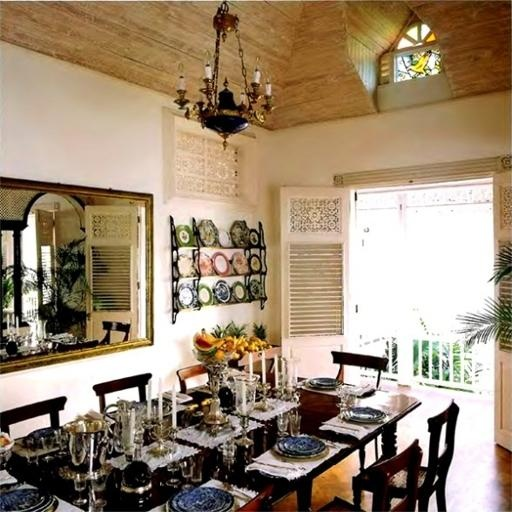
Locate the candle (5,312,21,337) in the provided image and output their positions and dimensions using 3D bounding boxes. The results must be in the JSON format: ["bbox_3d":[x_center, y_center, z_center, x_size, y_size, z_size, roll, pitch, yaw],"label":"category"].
[{"bbox_3d":[-1.488,0.415,2.918,0.014,0.150,0.081,0,1,32],"label":"candle"}]

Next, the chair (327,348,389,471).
[{"bbox_3d":[0.811,0.971,3.577,0.437,0.560,0.392,-1,-5,29],"label":"chair"}]

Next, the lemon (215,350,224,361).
[{"bbox_3d":[-0.177,0.483,2.312,0.044,0.053,0.045,0,3,-37],"label":"lemon"}]

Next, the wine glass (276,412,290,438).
[{"bbox_3d":[0.139,0.822,2.297,0.064,0.100,0.069,-10,-16,41],"label":"wine glass"}]
